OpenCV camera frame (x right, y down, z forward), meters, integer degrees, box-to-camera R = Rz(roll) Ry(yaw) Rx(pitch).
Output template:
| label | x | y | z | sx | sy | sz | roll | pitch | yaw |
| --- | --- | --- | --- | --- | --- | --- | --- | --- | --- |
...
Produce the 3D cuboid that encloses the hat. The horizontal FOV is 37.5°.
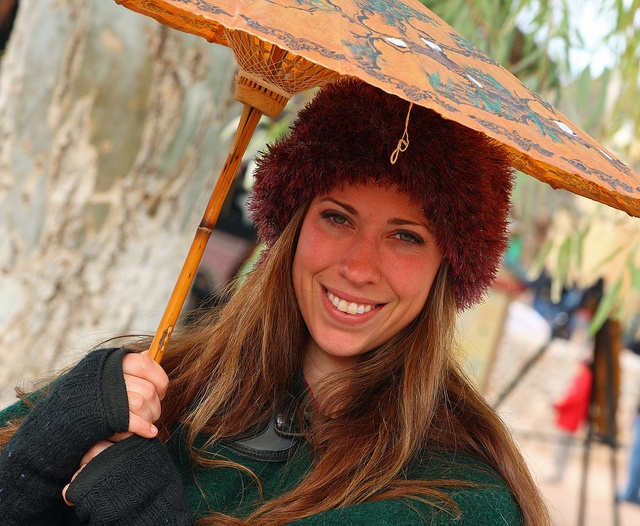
| label | x | y | z | sx | sy | sz | roll | pitch | yaw |
| --- | --- | --- | --- | --- | --- | --- | --- | --- | --- |
| hat | 0.259 | -0.334 | 3.271 | 0.772 | 0.406 | 0.815 | 30 | -24 | 9 |
